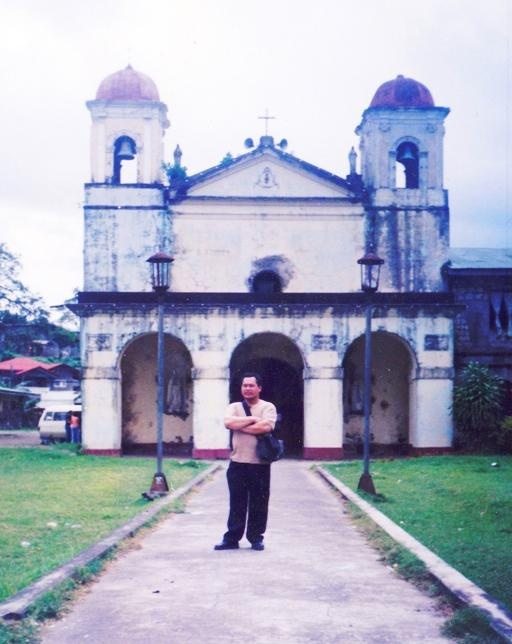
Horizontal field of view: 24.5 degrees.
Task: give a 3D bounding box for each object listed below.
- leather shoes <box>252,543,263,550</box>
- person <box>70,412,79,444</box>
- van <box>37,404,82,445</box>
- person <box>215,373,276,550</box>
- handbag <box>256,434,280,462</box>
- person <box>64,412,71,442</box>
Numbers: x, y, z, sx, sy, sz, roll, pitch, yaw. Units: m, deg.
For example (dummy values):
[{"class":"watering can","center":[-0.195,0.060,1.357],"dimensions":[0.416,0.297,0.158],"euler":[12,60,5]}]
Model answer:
[{"class":"leather shoes","center":[0.021,2.109,11.112],"dimensions":[0.112,0.079,0.124],"euler":[1,-6,-3]},{"class":"person","center":[-4.932,2.881,32.151],"dimensions":[0.293,0.757,1.085],"euler":[1,-6,-10]},{"class":"van","center":[-5.918,2.827,33.053],"dimensions":[2.051,1.095,1.309],"euler":[-1,0,-10]},{"class":"person","center":[-0.086,1.326,11.140],"dimensions":[0.520,1.639,0.356],"euler":[0,-5,-1]},{"class":"handbag","center":[0.106,1.181,11.014],"dimensions":[0.220,0.236,0.085],"euler":[4,-15,-43]},{"class":"person","center":[-5.144,2.865,32.443],"dimensions":[0.170,0.810,0.726],"euler":[1,-6,-10]}]
